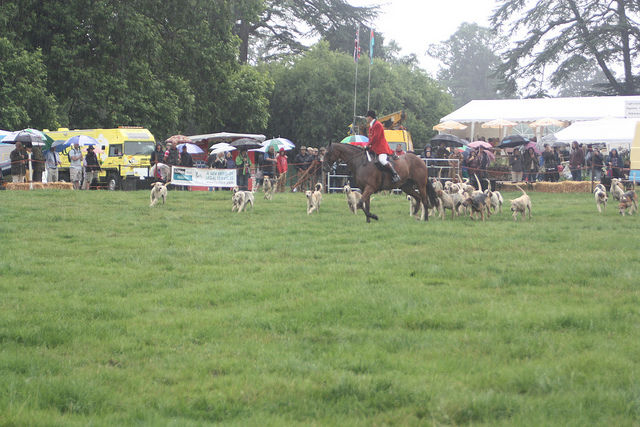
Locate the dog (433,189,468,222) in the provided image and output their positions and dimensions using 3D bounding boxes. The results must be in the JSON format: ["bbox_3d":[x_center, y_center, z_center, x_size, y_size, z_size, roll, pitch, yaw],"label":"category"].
[{"bbox_3d":[6.058,-0.425,44.546,1.404,1.440,0.612,1,0,6],"label":"dog"}]

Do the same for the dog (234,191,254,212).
[{"bbox_3d":[-3.707,-0.606,46.397,0.737,0.680,1.167,1,0,24],"label":"dog"}]

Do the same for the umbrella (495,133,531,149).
[{"bbox_3d":[11.851,-4.408,57.595,1.307,0.476,1.335,-8,6,-28],"label":"umbrella"}]

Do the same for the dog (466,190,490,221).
[{"bbox_3d":[7.333,-0.356,44.147,0.948,1.284,0.498,1,0,9],"label":"dog"}]

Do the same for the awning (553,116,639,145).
[{"bbox_3d":[16.664,-5.018,57.078,4.245,1.403,2.730,1,0,16],"label":"awning"}]

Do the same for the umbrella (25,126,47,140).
[{"bbox_3d":[-14.827,-4.223,49.748,0.648,0.235,0.755,24,10,-3],"label":"umbrella"}]

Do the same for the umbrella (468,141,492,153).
[{"bbox_3d":[9.524,-3.995,56.729,1.145,0.803,1.192,0,1,1],"label":"umbrella"}]

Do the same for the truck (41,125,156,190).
[{"bbox_3d":[-12.607,-3.268,55.428,6.678,3.615,3.436,1,7,25],"label":"truck"}]

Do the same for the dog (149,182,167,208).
[{"bbox_3d":[-7.936,-0.922,46.391,0.753,0.965,1.623,1,0,-8],"label":"dog"}]

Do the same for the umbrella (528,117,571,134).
[{"bbox_3d":[15.447,-5.979,63.678,1.590,0.723,1.563,-4,2,-11],"label":"umbrella"}]
